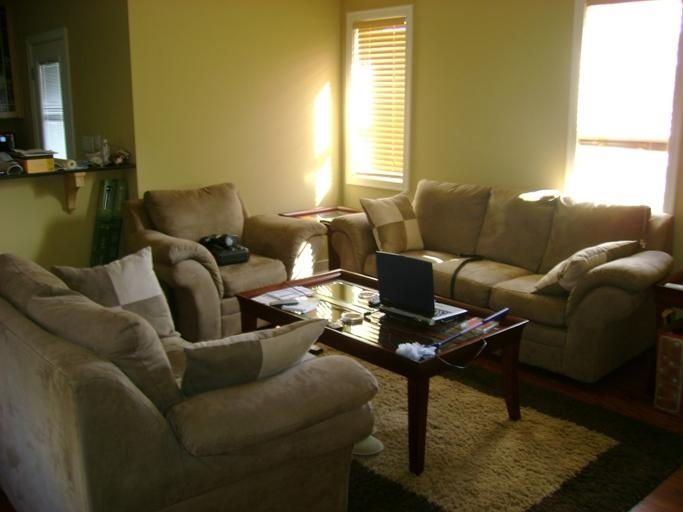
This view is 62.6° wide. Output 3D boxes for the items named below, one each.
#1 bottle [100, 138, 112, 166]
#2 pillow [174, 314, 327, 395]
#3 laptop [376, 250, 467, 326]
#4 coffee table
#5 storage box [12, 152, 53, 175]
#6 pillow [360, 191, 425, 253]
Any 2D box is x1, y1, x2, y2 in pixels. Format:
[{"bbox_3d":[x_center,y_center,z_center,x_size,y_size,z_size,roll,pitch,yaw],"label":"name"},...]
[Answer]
[{"bbox_3d":[-1.895,-0.840,4.518,0.078,0.201,0.219,-7,15,-23],"label":"bottle"},{"bbox_3d":[-0.463,0.502,2.453,0.685,0.246,0.511,-13,-9,-33],"label":"pillow"},{"bbox_3d":[0.477,0.119,3.335,0.400,0.449,0.500,-15,18,-40],"label":"laptop"},{"bbox_3d":[0.333,0.215,3.194,0.958,0.606,1.505,-16,22,-41],"label":"coffee table"},{"bbox_3d":[-2.234,-0.686,4.104,0.264,0.161,0.225,-8,16,-27],"label":"storage box"},{"bbox_3d":[0.428,-0.262,4.687,0.530,0.617,0.311,-4,-13,-17],"label":"pillow"}]
